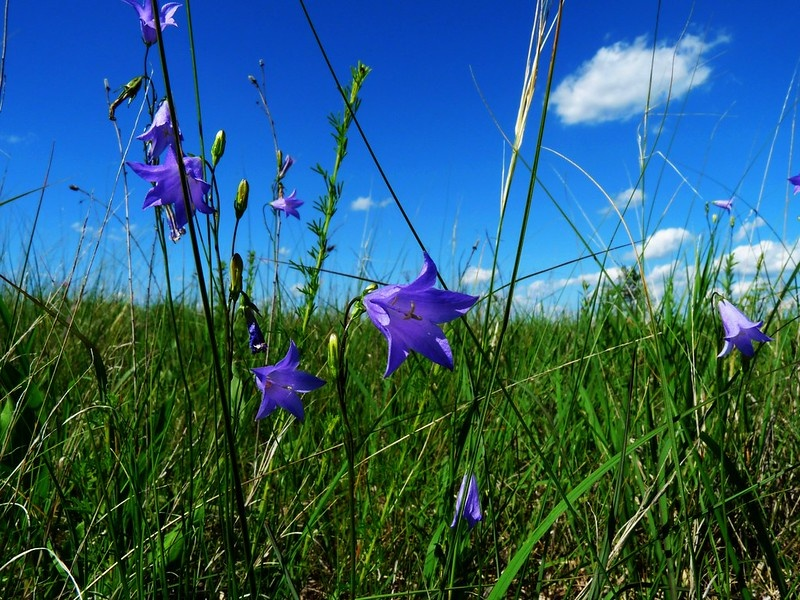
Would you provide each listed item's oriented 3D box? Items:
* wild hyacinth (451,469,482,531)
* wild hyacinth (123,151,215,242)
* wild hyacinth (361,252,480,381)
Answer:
[{"bbox_3d":[0.280,0.767,2.413,0.103,0.211,0.097,17,18,5],"label":"wild hyacinth"},{"bbox_3d":[-0.870,-0.449,2.481,0.327,0.340,0.274,-2,-6,12],"label":"wild hyacinth"},{"bbox_3d":[0.077,0.069,2.361,0.396,0.427,0.357,4,-8,-37],"label":"wild hyacinth"}]
